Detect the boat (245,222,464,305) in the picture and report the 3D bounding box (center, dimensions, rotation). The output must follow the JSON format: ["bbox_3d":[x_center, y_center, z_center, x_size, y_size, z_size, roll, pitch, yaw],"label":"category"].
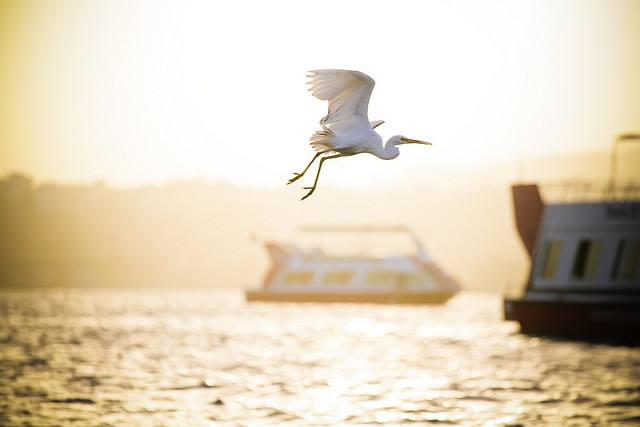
[{"bbox_3d":[1.590,2.458,46.172,10.387,3.573,3.437,0,4,16],"label":"boat"}]

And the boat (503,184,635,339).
[{"bbox_3d":[8.696,1.865,31.116,5.755,3.687,2.135,-1,-12,16],"label":"boat"}]
